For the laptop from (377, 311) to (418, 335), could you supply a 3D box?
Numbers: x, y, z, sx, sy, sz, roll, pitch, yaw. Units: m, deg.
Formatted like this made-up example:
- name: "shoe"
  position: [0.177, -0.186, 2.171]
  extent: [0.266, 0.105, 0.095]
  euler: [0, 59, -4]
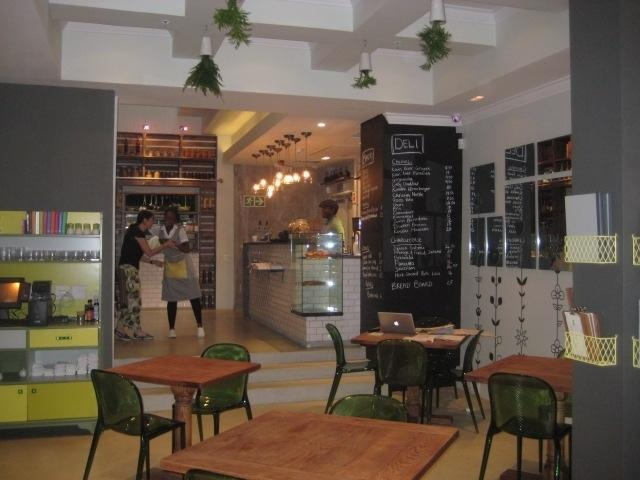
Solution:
- name: "laptop"
  position: [0.838, 0.909, 5.493]
  extent: [0.329, 0.207, 0.253]
  euler: [0, 2, 31]

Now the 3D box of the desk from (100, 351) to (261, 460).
- name: "desk"
  position: [-1.083, 1.375, 3.950]
  extent: [1.031, 0.828, 1.139]
  euler: [-10, -39, 4]

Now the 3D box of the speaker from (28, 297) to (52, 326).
- name: "speaker"
  position: [-3.043, 0.771, 5.422]
  extent: [0.196, 0.298, 0.133]
  euler: [-1, -2, -7]

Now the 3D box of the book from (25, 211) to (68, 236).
- name: "book"
  position: [-3.135, -0.166, 5.750]
  extent: [0.376, 0.280, 0.363]
  euler: [3, -4, -37]

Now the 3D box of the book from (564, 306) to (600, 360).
- name: "book"
  position: [1.428, 0.504, 2.740]
  extent: [0.070, 0.253, 0.175]
  euler: [-6, 5, -23]

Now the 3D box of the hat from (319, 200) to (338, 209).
- name: "hat"
  position: [0.136, -0.606, 8.422]
  extent: [0.262, 0.142, 0.194]
  euler: [16, 6, 9]

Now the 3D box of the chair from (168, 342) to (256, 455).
- name: "chair"
  position: [-0.982, 1.472, 4.482]
  extent: [0.536, 0.988, 0.699]
  euler: [-1, -6, 17]

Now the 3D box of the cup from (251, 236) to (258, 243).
- name: "cup"
  position: [-1.503, -0.028, 11.459]
  extent: [0.164, 0.168, 0.163]
  euler: [1, -3, 0]

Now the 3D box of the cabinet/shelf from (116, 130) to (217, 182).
- name: "cabinet/shelf"
  position: [-3.647, -1.871, 11.685]
  extent: [2.287, 1.077, 0.406]
  euler: [0, 4, -7]

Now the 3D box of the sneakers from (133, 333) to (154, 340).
- name: "sneakers"
  position: [-2.788, 1.487, 7.822]
  extent: [0.253, 0.103, 0.124]
  euler: [1, -2, -15]

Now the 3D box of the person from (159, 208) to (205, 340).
- name: "person"
  position: [-2.160, 0.512, 7.846]
  extent: [0.612, 2.042, 0.640]
  euler: [0, -2, -16]

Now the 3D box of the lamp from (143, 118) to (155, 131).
- name: "lamp"
  position: [-3.991, -2.638, 11.590]
  extent: [0.210, 0.242, 0.156]
  euler: [0, -2, -13]

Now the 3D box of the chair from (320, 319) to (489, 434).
- name: "chair"
  position: [0.742, 1.565, 5.672]
  extent: [1.398, 0.997, 1.145]
  euler: [-1, 1, 5]
